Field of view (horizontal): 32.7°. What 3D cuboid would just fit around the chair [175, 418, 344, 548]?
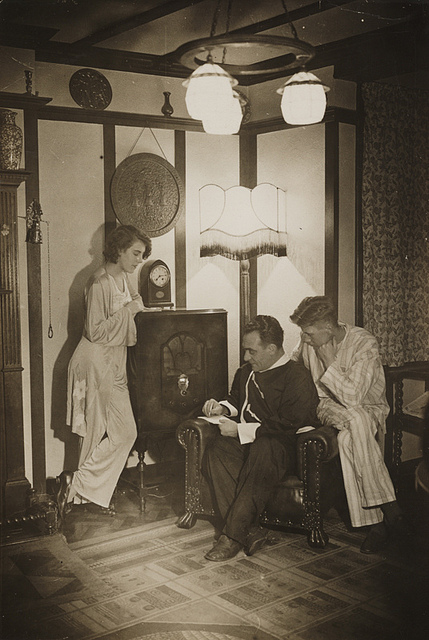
[{"bbox_3d":[0.120,0.404,2.058,0.433,0.281,0.347,2,-6,18],"label":"chair"}]

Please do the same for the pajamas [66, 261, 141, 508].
[{"bbox_3d":[-0.260,0.157,1.828,0.174,0.573,0.210,-1,-5,36],"label":"pajamas"}]

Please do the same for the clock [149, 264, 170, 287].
[{"bbox_3d":[-0.122,-0.097,1.639,0.046,0.045,0.010,1,4,15],"label":"clock"}]
